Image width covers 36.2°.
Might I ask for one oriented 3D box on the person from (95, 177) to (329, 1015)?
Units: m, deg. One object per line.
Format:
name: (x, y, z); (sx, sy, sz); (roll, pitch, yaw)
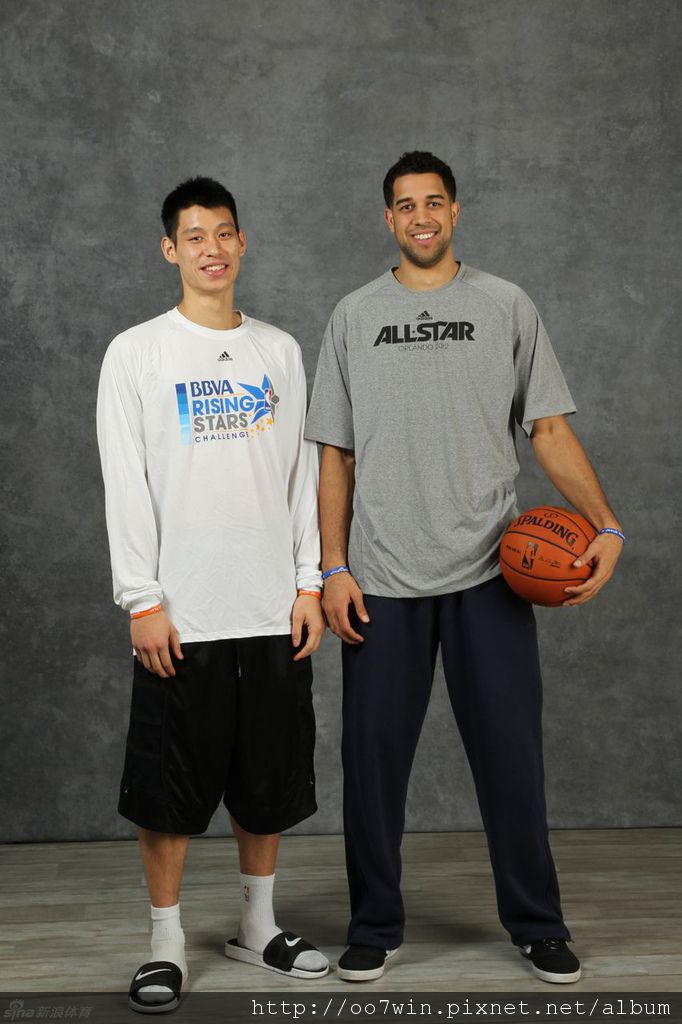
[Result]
person: (-0.284, 0.175, 2.308); (0.482, 1.764, 0.752); (-2, 18, -3)

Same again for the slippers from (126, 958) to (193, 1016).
slippers: (-0.394, 1.018, 2.228); (0.121, 0.099, 0.149); (-3, 17, -10)

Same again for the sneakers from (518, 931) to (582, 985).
sneakers: (0.465, 0.989, 2.295); (0.057, 0.050, 0.145); (0, -9, -15)

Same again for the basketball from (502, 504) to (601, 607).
basketball: (0.456, 0.104, 2.314); (0.230, 0.232, 0.214); (4, 20, 6)

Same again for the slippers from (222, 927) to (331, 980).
slippers: (-0.148, 1.005, 2.411); (0.234, 0.064, 0.084); (-2, -7, 38)
